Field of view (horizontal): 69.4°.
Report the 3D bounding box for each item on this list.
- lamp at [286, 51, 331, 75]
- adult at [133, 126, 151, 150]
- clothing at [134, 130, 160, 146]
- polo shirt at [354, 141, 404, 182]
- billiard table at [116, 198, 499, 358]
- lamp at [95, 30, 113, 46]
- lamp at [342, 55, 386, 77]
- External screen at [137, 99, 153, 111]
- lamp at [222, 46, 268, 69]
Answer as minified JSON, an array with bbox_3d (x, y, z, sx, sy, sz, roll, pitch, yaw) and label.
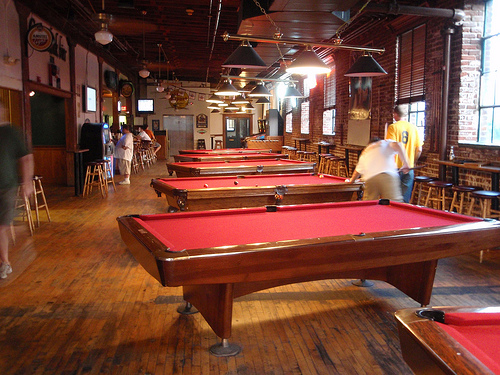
[{"bbox_3d":[0.713,-1.567,4.415,0.504,0.294,0.428,-4,13,-17],"label":"lamp"},{"bbox_3d":[-4.212,-1.969,14.352,0.576,0.863,1.446,-4,13,-16],"label":"adult"},{"bbox_3d":[-4.102,-2.071,14.570,0.902,0.955,0.817,-1,5,-22],"label":"clothing"},{"bbox_3d":[1.697,-0.376,4.747,0.378,0.453,0.705,9,-22,-42],"label":"polo shirt"},{"bbox_3d":[0.401,0.705,2.859,2.582,0.937,1.008,-4,14,-17],"label":"billiard table"},{"bbox_3d":[-2.412,-2.550,5.997,0.238,0.211,0.312,-3,13,-13],"label":"lamp"},{"bbox_3d":[1.529,-1.616,4.857,0.502,0.213,0.429,-1,8,-6],"label":"lamp"},{"bbox_3d":[-5.083,-4.059,17.605,0.868,0.524,0.408,1,-1,-5],"label":"External screen"},{"bbox_3d":[-0.067,-1.686,4.601,0.543,0.315,0.475,0,12,0],"label":"lamp"}]
